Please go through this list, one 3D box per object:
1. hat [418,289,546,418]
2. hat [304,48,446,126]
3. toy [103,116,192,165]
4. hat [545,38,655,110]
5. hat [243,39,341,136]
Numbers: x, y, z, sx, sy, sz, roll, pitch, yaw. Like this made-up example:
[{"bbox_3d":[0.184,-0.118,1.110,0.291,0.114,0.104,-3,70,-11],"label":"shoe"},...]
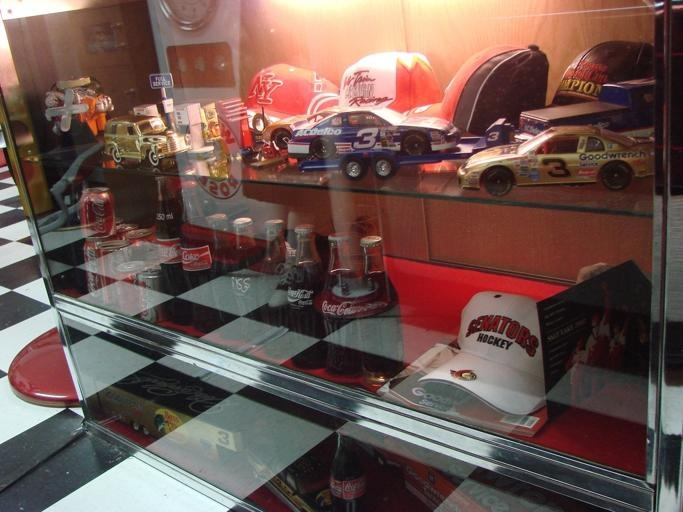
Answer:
[{"bbox_3d":[0.279,0.187,0.916,0.187,0.111,0.233,11,37,38],"label":"hat"},{"bbox_3d":[0.088,-0.354,1.002,0.221,0.088,0.122,9,31,27],"label":"hat"},{"bbox_3d":[-0.576,-0.356,1.545,0.272,0.115,0.147,12,38,18],"label":"toy"},{"bbox_3d":[0.403,-0.275,0.734,0.065,0.092,0.148,-19,26,-31],"label":"hat"},{"bbox_3d":[-0.127,-0.385,1.170,0.239,0.121,0.144,11,43,21],"label":"hat"}]
